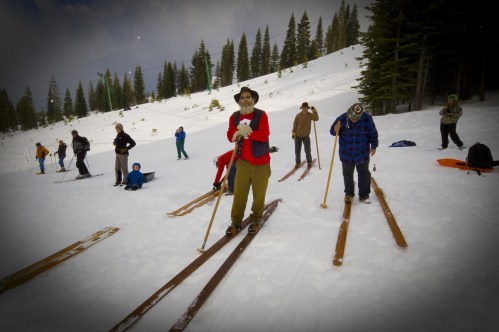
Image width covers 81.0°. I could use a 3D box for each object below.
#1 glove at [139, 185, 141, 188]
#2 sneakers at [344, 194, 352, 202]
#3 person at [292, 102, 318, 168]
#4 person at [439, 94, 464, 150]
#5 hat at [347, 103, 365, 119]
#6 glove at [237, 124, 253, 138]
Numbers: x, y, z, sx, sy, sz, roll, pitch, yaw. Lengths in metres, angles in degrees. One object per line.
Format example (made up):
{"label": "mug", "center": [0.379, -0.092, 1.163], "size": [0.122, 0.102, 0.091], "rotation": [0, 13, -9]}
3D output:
{"label": "glove", "center": [-4.110, 0.740, 10.976], "size": [0.126, 0.086, 0.030], "rotation": [0, -4, -11]}
{"label": "sneakers", "center": [2.866, 0.919, 8.462], "size": [0.214, 0.261, 0.604], "rotation": [-1, -1, 22]}
{"label": "person", "center": [2.244, -1.264, 11.695], "size": [0.972, 2.540, 1.215], "rotation": [-2, 11, 13]}
{"label": "person", "center": [8.218, -1.774, 11.805], "size": [0.832, 2.168, 1.343], "rotation": [4, 14, 36]}
{"label": "hat", "center": [2.989, -1.539, 8.227], "size": [0.396, 0.437, 0.390], "rotation": [-5, -4, 9]}
{"label": "glove", "center": [-0.106, -0.889, 7.294], "size": [0.369, 0.353, 0.240], "rotation": [-2, 11, 15]}
